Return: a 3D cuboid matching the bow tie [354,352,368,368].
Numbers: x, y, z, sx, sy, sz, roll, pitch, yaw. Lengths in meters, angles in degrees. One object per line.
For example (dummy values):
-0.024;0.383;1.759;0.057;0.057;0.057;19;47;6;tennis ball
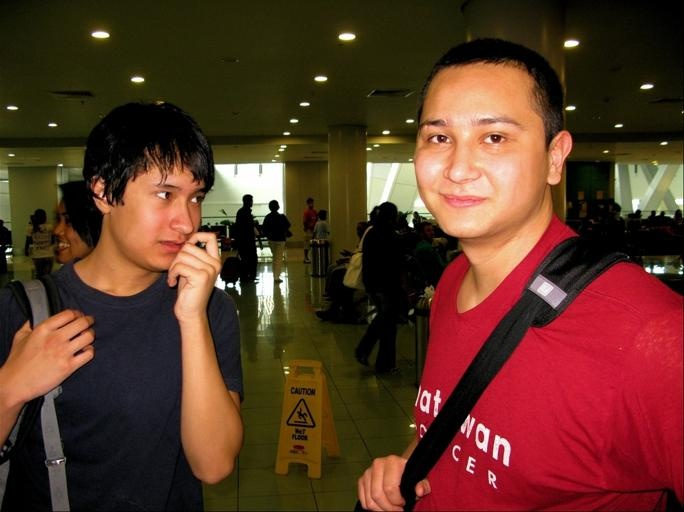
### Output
0.233;1.188;5.738;0.112;0.154;0.156;-2;-3;-5;bow tie
